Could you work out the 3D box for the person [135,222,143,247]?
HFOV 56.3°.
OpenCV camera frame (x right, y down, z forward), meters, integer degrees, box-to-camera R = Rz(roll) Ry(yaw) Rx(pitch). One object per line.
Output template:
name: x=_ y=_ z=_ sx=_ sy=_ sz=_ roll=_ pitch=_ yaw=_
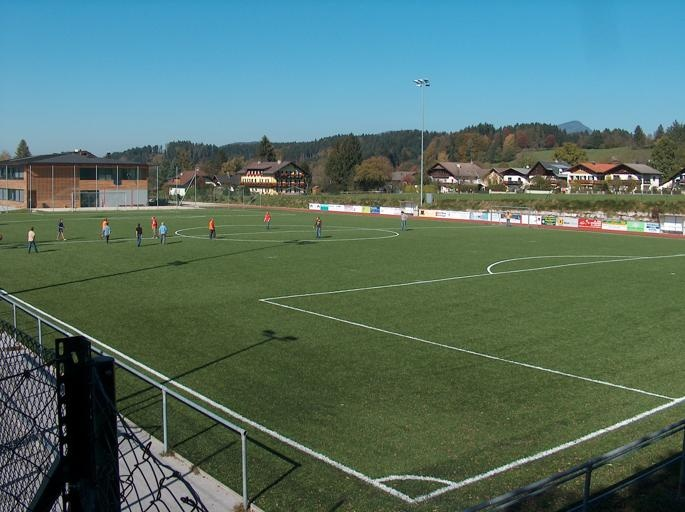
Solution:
person: x=-14.710 y=-1.581 z=46.356 sx=0.394 sy=1.621 sz=3.481 roll=-2 pitch=10 yaw=-18
